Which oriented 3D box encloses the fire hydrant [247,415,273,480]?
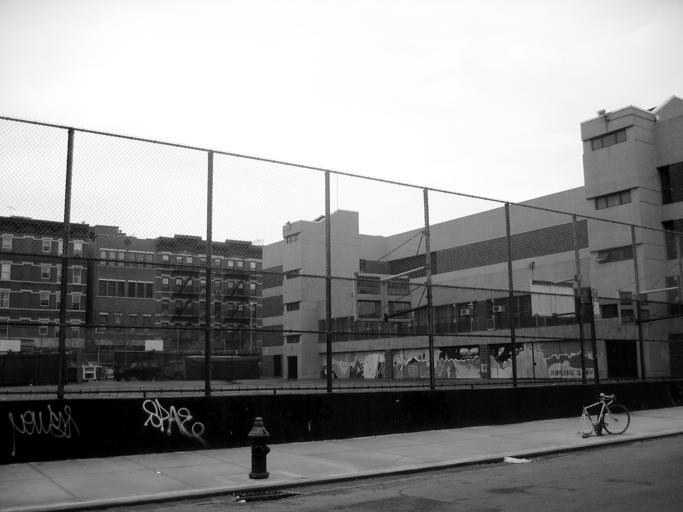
[{"bbox_3d":[-1.929,4.434,17.020,0.470,1.414,0.967,0,-1,-7],"label":"fire hydrant"}]

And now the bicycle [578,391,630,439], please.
[{"bbox_3d":[8.433,5.205,23.804,2.206,1.385,0.521,2,3,-23],"label":"bicycle"}]
